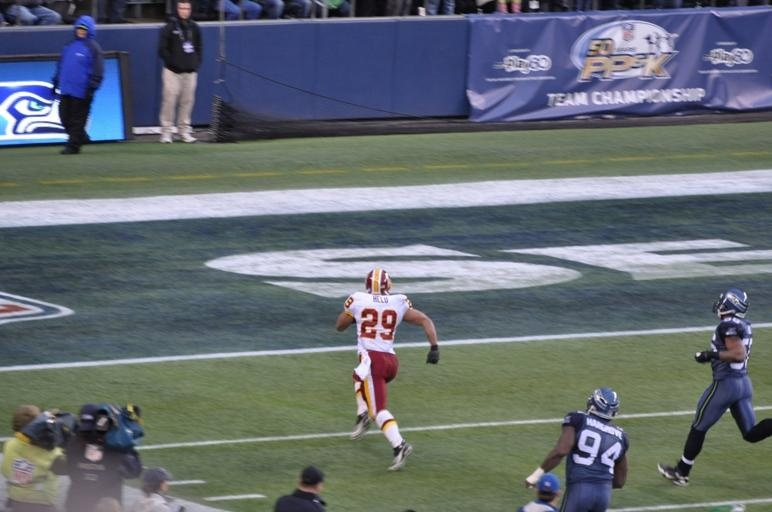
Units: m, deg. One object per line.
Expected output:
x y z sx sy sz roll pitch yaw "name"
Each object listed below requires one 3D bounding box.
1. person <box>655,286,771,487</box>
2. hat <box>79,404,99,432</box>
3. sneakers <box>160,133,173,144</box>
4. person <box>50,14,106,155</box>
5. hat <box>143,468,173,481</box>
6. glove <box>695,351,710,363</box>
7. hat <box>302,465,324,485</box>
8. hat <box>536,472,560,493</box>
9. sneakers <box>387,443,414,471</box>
4.365 1.708 17.915 1.459 2.549 0.790 0 15 -6 "person"
-3.472 1.889 16.075 0.223 0.282 0.221 -1 13 -10 "hat"
-4.628 -2.498 29.185 0.290 0.128 0.178 0 4 44 "sneakers"
-6.096 -3.430 27.194 0.714 2.633 0.820 -9 19 -34 "person"
-2.690 2.586 16.248 0.309 0.147 0.225 -1 11 -9 "hat"
4.119 1.322 17.842 0.220 0.072 0.210 -14 12 -14 "glove"
-0.815 2.478 15.516 0.246 0.120 0.265 5 7 12 "hat"
1.890 2.595 15.836 0.241 0.113 0.271 3 22 11 "hat"
0.194 2.620 17.956 0.264 0.400 0.155 -6 16 -26 "sneakers"
